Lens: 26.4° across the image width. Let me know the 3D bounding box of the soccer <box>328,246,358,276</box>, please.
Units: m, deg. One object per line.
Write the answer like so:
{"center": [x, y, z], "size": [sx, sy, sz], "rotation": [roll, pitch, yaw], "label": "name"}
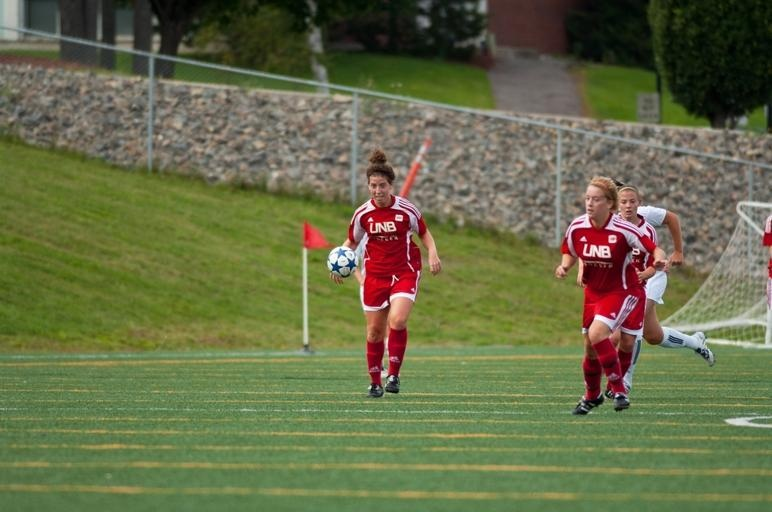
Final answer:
{"center": [-0.933, 0.116, 34.547], "size": [0.454, 0.457, 0.456], "rotation": [-36, 12, 46], "label": "soccer"}
